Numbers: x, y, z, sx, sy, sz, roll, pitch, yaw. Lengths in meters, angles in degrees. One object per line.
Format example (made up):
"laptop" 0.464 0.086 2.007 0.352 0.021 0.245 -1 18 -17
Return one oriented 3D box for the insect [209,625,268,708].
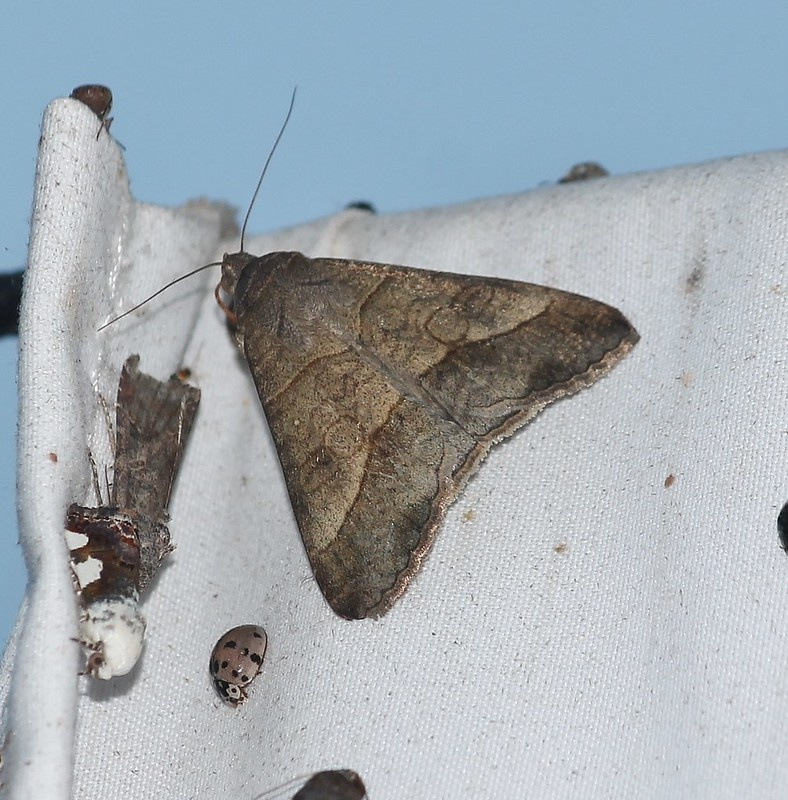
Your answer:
"insect" -0.315 0.527 2.844 0.101 0.042 0.165 2 49 11
